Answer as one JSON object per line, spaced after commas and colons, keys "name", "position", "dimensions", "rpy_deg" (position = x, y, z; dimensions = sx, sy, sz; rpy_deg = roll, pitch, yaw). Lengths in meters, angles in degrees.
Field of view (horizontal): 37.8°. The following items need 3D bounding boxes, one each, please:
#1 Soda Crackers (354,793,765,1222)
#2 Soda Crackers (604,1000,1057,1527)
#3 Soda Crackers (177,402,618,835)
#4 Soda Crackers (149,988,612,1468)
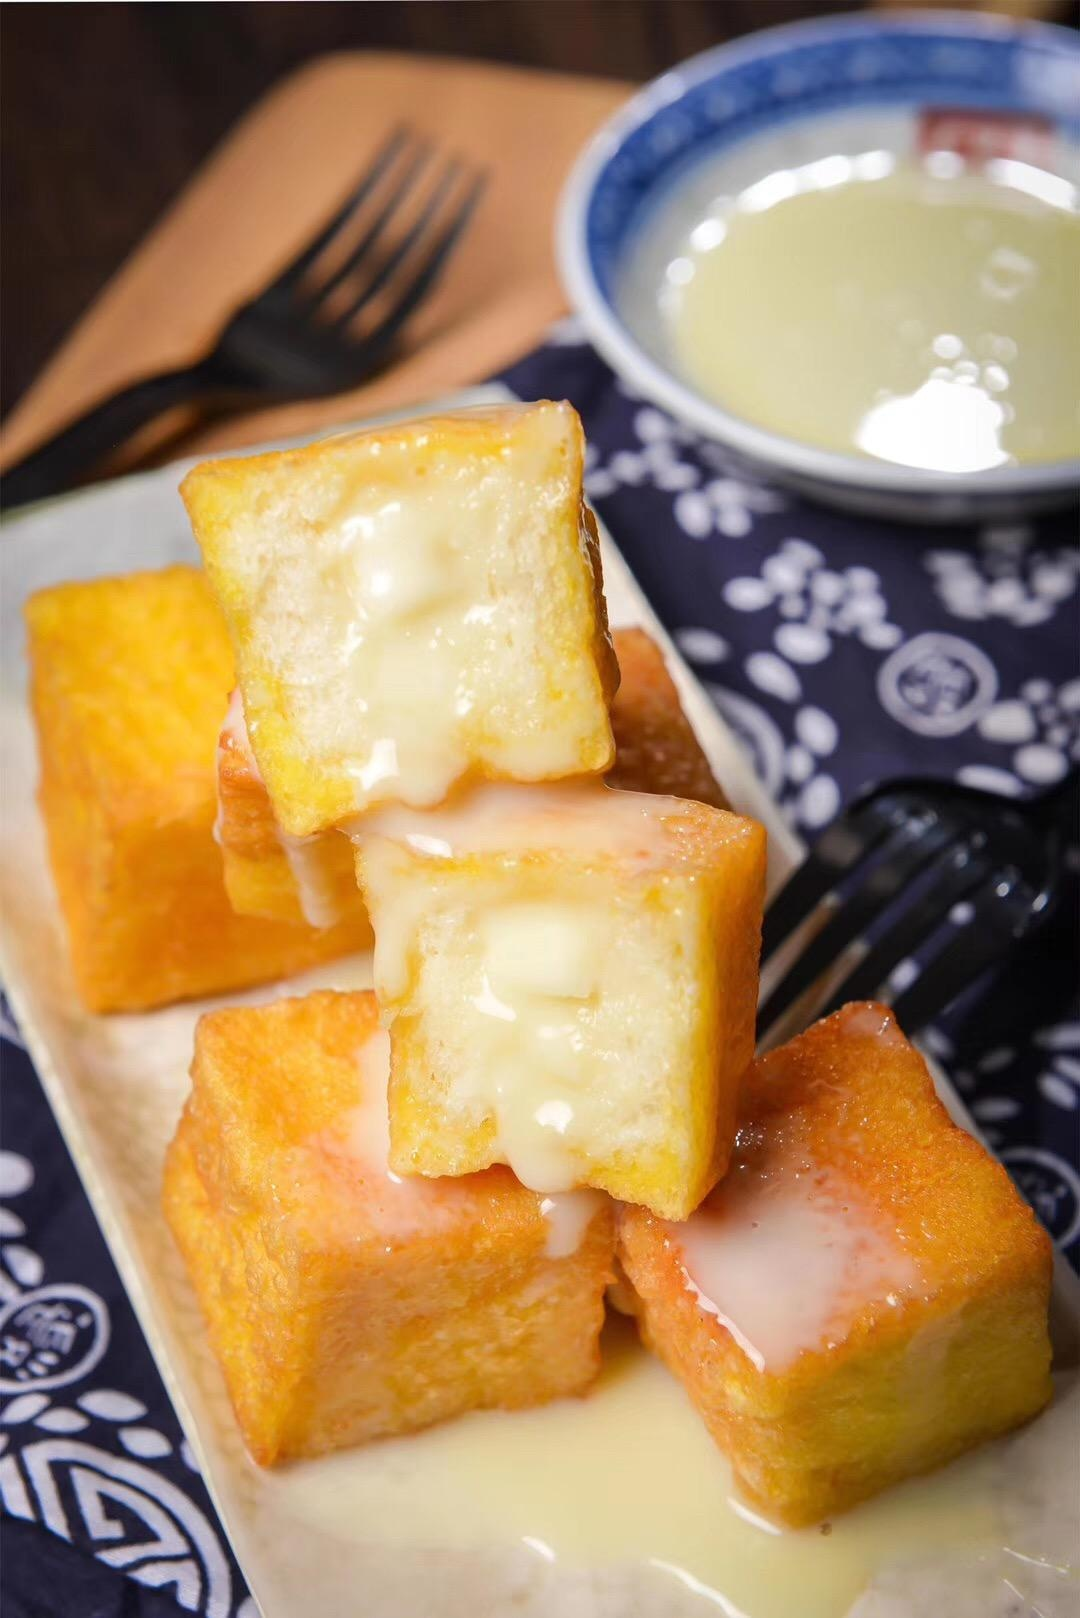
{"name": "Soda Crackers", "position": [0.029, 0.083, 0.888], "dimensions": [0.223, 0.198, 0.226], "rpy_deg": [5, 5, 39]}
{"name": "Soda Crackers", "position": [0.158, 0.246, 0.876], "dimensions": [0.204, 0.155, 0.214], "rpy_deg": [-23, 43, -10]}
{"name": "Soda Crackers", "position": [-0.063, -0.100, 0.800], "dimensions": [0.203, 0.165, 0.154], "rpy_deg": [-11, 43, 2]}
{"name": "Soda Crackers", "position": [-0.097, 0.239, 0.927], "dimensions": [0.260, 0.168, 0.242], "rpy_deg": [-7, 37, -13]}
